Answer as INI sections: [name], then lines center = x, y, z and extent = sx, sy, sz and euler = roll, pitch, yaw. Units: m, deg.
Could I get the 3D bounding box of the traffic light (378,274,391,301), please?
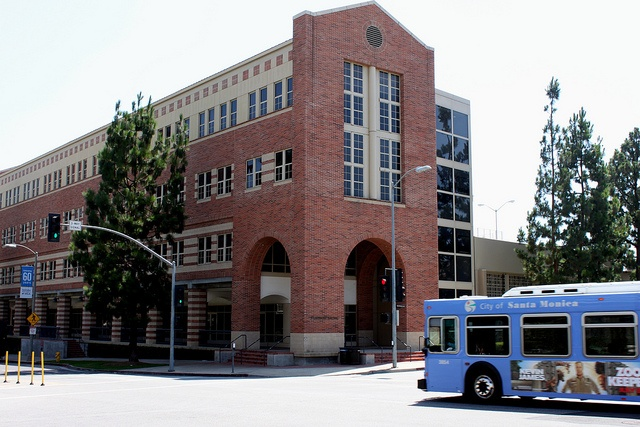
[traffic light]
center = 4.247, 4.751, 39.561
extent = 0.775, 1.669, 0.919
euler = -1, -16, 6
